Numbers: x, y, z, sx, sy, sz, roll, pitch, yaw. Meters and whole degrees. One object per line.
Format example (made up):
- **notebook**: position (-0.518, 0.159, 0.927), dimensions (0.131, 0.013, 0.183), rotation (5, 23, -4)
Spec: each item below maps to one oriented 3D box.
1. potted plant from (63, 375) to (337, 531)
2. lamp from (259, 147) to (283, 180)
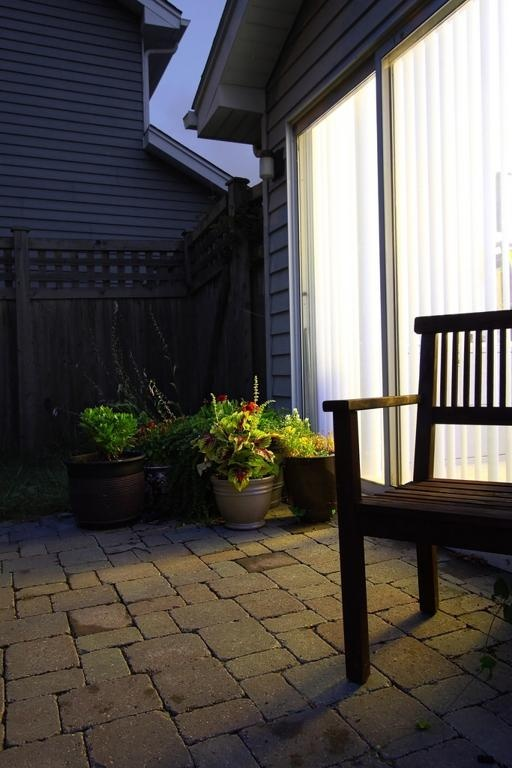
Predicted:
- **potted plant**: position (-0.309, 0.385, 3.260), dimensions (0.811, 0.582, 1.102), rotation (4, -9, -23)
- **lamp**: position (0.104, -1.455, 3.892), dimensions (0.183, 0.199, 0.190), rotation (2, -1, -13)
